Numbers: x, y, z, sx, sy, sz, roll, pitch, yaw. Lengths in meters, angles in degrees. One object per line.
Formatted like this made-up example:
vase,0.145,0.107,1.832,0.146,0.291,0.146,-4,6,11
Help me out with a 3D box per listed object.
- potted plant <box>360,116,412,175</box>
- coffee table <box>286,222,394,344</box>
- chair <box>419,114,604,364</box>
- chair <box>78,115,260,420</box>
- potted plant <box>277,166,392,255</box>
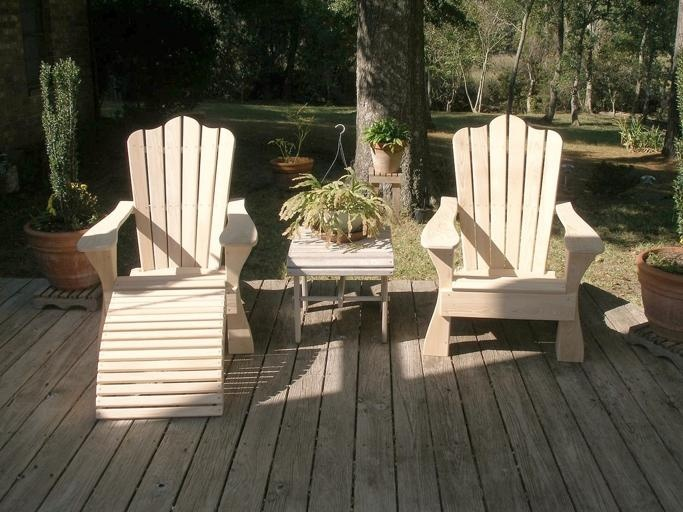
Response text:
potted plant,0.448,-1.038,5.184,0.428,0.467,0.399,-5,15,-23
coffee table,0.004,0.162,3.435,0.623,0.577,0.640,2,21,2
chair,0.979,-0.163,3.364,0.969,1.273,0.976,4,21,7
chair,-0.993,-0.004,3.160,0.865,1.293,1.587,-1,19,-10
potted plant,-0.037,-0.295,3.407,0.644,0.327,0.671,-10,30,-17
